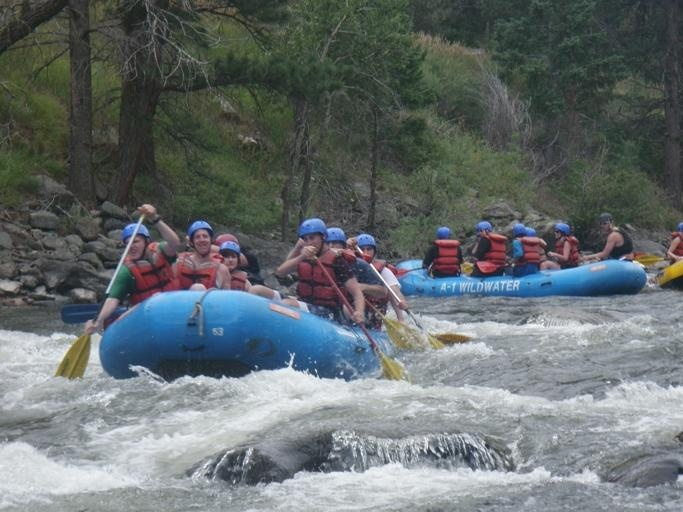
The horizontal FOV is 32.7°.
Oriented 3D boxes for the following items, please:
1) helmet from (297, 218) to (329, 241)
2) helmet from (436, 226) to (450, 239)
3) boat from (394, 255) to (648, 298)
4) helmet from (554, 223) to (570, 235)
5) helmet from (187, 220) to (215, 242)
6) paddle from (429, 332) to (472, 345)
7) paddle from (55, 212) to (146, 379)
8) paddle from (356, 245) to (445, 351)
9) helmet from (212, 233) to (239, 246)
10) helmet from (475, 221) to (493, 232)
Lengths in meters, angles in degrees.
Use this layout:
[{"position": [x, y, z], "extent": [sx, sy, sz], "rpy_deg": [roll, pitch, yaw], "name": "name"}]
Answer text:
[{"position": [-0.557, -0.538, 23.193], "extent": [0.465, 0.366, 0.349], "rpy_deg": [-26, 12, -34], "name": "helmet"}, {"position": [2.522, -0.559, 28.763], "extent": [0.314, 0.319, 0.363], "rpy_deg": [5, 31, 7], "name": "helmet"}, {"position": [4.521, 0.702, 28.420], "extent": [4.204, 0.746, 2.116], "rpy_deg": [-3, -4, 18], "name": "boat"}, {"position": [5.644, -0.651, 29.504], "extent": [0.376, 0.304, 0.305], "rpy_deg": [-10, 25, -8], "name": "helmet"}, {"position": [-2.746, -0.528, 22.692], "extent": [0.391, 0.567, 0.430], "rpy_deg": [0, -5, -15], "name": "helmet"}, {"position": [2.315, 1.761, 24.259], "extent": [0.823, 0.231, 0.376], "rpy_deg": [1, 0, 4], "name": "paddle"}, {"position": [-4.750, 1.123, 22.760], "extent": [0.595, 3.375, 0.135], "rpy_deg": [1, -37, 25], "name": "paddle"}, {"position": [1.332, 1.011, 25.598], "extent": [0.476, 2.660, 0.272], "rpy_deg": [-26, -31, -9], "name": "paddle"}, {"position": [-2.368, -0.336, 23.749], "extent": [0.468, 0.397, 0.339], "rpy_deg": [-4, 9, -2], "name": "helmet"}, {"position": [3.562, -0.721, 28.910], "extent": [0.402, 0.342, 0.329], "rpy_deg": [1, 5, 5], "name": "helmet"}]
